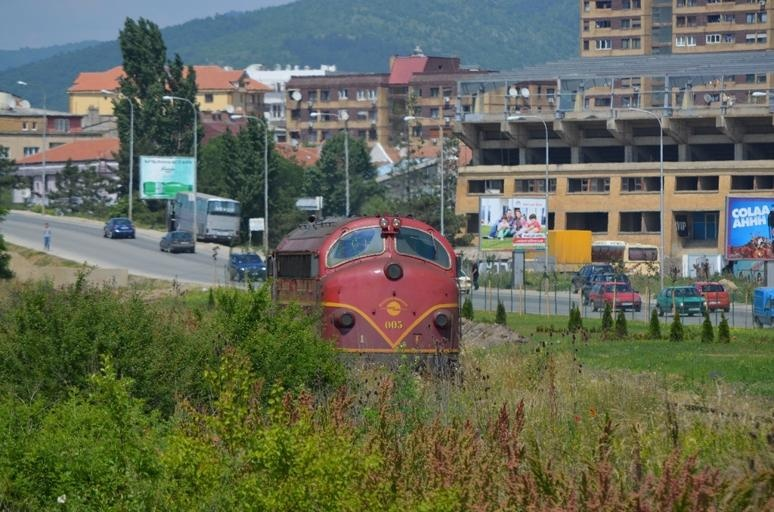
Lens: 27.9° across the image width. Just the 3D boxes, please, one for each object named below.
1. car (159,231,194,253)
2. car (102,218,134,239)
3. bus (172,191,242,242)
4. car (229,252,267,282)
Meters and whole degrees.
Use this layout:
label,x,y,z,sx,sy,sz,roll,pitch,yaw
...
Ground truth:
label,x,y,z,sx,sy,sz,roll,pitch,yaw
car,-18.540,-1.158,138.473,2.782,1.827,1.758,2,0,-4
car,-24.810,-2.486,144.304,1.486,1.414,2.898,0,8,-15
bus,-17.279,-3.728,146.652,3.155,3.710,8.091,1,6,-33
car,-11.266,1.000,126.192,2.583,2.254,5.271,2,0,-12
